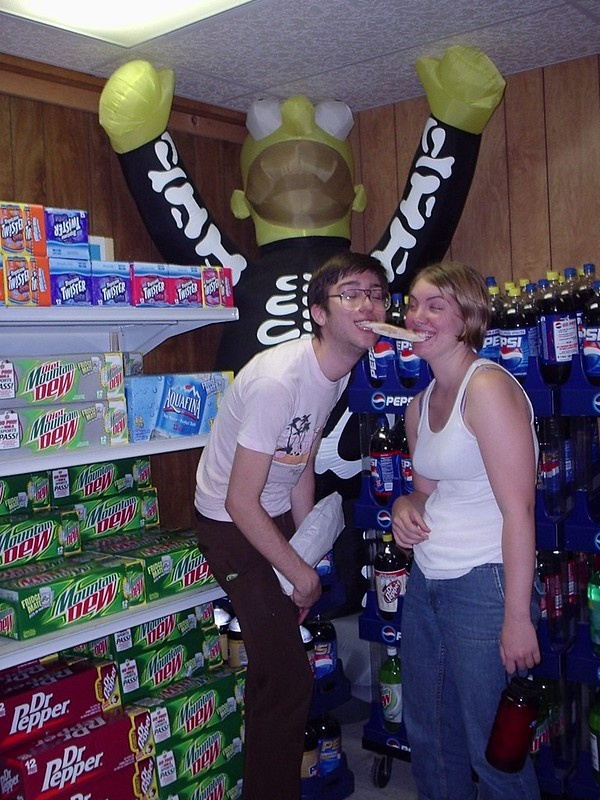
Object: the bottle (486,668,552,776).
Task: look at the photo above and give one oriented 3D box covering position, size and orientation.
[{"bbox_3d":[0.404,0.603,1.173,0.068,0.182,0.126,5,10,42],"label":"bottle"}]
